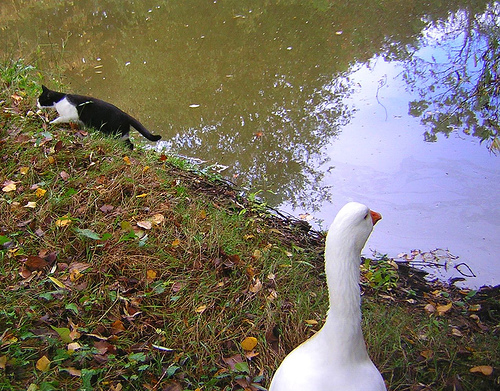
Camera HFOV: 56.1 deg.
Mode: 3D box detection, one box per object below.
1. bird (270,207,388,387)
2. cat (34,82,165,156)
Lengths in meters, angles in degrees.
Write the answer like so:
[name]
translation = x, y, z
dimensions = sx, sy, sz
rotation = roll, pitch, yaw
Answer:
[bird]
translation = 0.401, 0.641, 2.837
dimensions = 0.798, 1.229, 0.547
rotation = -4, 19, -4
[cat]
translation = -1.396, -0.646, 4.167
dimensions = 1.111, 0.582, 0.333
rotation = 20, -7, -10
